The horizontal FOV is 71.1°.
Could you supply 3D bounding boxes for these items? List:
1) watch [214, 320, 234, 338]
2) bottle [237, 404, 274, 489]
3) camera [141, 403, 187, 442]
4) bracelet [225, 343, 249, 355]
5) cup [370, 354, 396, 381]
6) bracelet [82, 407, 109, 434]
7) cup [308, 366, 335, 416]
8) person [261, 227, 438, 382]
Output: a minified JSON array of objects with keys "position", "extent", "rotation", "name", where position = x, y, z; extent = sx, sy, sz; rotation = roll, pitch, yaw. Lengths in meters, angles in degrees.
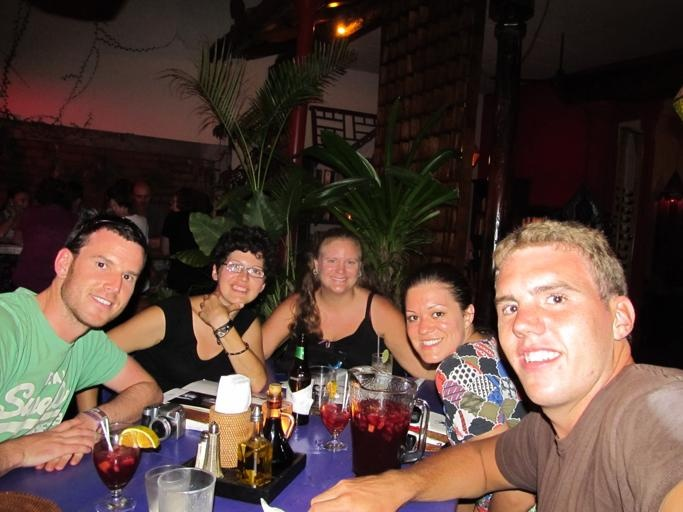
[{"position":[-0.596,0.382,2.440],"extent":[0.077,0.037,0.092],"rotation":[-31,9,14],"name":"watch"},{"position":[-0.255,0.584,1.484],"extent":[0.111,0.238,0.114],"rotation":[2,-11,0],"name":"bottle"},{"position":[-0.637,0.575,1.734],"extent":[0.146,0.105,0.111],"rotation":[8,0,16],"name":"camera"},{"position":[-0.523,0.474,2.436],"extent":[0.108,0.066,0.073],"rotation":[5,-12,-13],"name":"bracelet"},{"position":[0.186,0.501,2.228],"extent":[0.140,0.166,0.151],"rotation":[1,-7,0],"name":"cup"},{"position":[-0.860,0.578,1.672],"extent":[0.026,0.093,0.093],"rotation":[-21,35,-32],"name":"bracelet"},{"position":[-0.083,0.570,1.996],"extent":[0.151,0.177,0.160],"rotation":[1,-10,0],"name":"cup"},{"position":[0.030,0.310,3.042],"extent":[1.080,1.170,0.344],"rotation":[-1,-9,0],"name":"person"}]
